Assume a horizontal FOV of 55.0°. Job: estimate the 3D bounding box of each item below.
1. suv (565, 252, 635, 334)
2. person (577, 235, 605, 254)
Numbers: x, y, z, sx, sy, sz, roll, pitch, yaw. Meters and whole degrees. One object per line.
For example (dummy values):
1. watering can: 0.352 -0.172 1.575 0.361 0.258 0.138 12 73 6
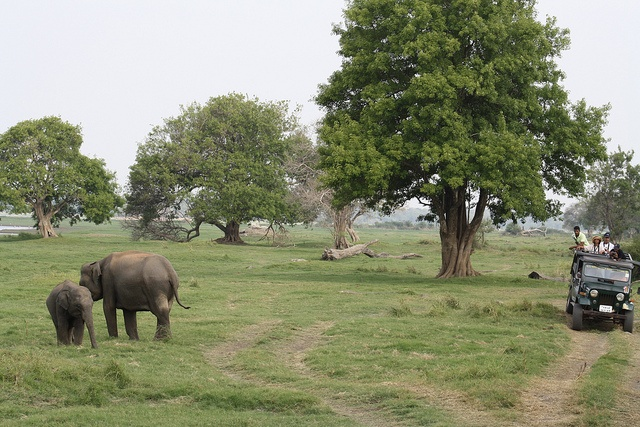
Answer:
1. suv: 13.263 3.815 28.925 2.566 3.541 2.427 5 12 16
2. person: 13.706 1.554 30.759 0.908 1.249 1.348 -1 -4 12
